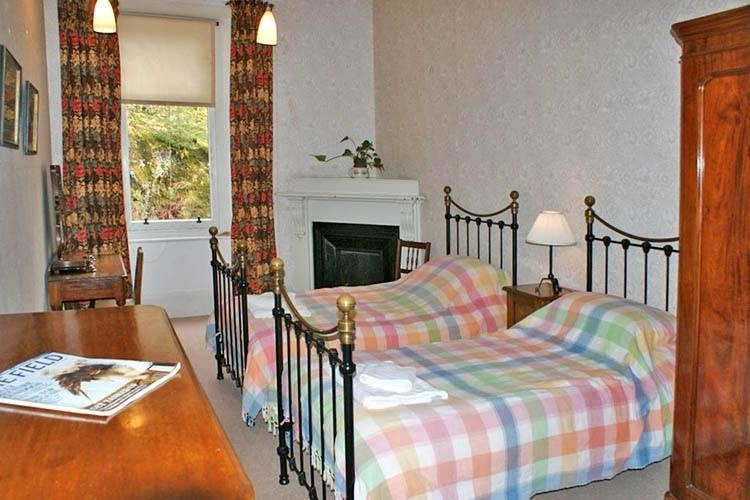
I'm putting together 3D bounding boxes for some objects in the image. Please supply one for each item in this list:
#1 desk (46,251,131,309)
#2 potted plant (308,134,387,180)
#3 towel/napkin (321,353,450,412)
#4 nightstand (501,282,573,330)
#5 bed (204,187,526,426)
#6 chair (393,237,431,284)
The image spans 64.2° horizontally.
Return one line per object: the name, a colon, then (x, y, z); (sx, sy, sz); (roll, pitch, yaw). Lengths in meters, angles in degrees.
desk: (-2.104, 0.163, 4.378); (0.513, 0.327, 0.650); (-3, 34, -23)
potted plant: (-0.233, -1.011, 6.701); (0.684, 0.393, 0.484); (1, 3, 34)
towel/napkin: (0.126, 0.678, 3.028); (0.466, 0.116, 0.409); (-1, 13, -3)
nightstand: (1.135, 0.352, 4.228); (0.331, 0.387, 0.389); (-6, 12, -23)
bed: (0.000, 0.329, 4.691); (2.129, 1.395, 1.556); (-6, 12, -26)
chair: (0.362, 0.108, 5.855); (0.334, 0.570, 0.371); (6, 4, 28)
